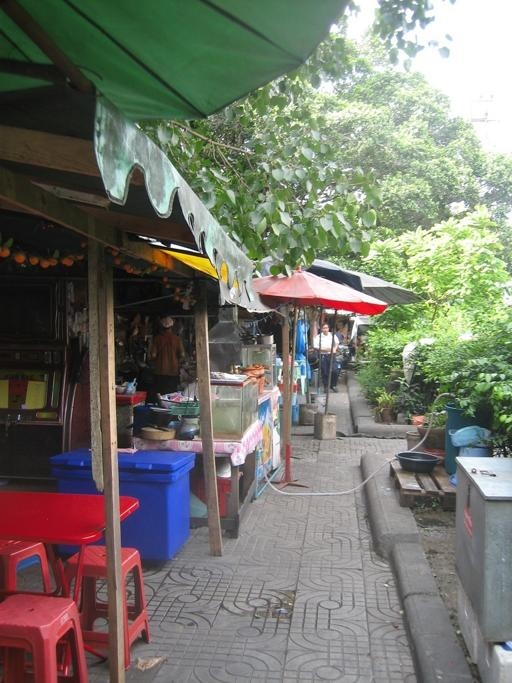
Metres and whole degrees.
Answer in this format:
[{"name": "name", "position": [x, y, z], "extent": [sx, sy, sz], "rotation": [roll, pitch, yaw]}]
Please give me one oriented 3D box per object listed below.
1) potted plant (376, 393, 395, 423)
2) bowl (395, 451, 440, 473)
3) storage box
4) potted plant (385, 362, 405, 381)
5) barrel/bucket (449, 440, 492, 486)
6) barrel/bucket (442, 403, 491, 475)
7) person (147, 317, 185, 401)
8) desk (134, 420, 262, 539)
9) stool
[{"name": "potted plant", "position": [2.674, 1.455, 11.383], "extent": [0.480, 0.627, 0.490], "rotation": [0, -8, -2]}, {"name": "bowl", "position": [1.922, 1.513, 6.515], "extent": [0.463, 0.186, 0.500], "rotation": [0, 0, 0]}, {"name": "storage box", "position": [-1.158, 1.404, 4.813], "extent": [1.110, 0.798, 0.928], "rotation": [-1, -3, 7]}, {"name": "potted plant", "position": [3.071, 0.707, 12.107], "extent": [0.361, 0.417, 0.380], "rotation": [1, 5, 17]}, {"name": "barrel/bucket", "position": [2.341, 1.298, 5.831], "extent": [0.452, 0.488, 0.463], "rotation": [1, 0, 0]}, {"name": "barrel/bucket", "position": [2.432, 1.047, 6.290], "extent": [0.356, 0.552, 0.375], "rotation": [13, -23, 6]}, {"name": "person", "position": [-1.440, 0.404, 8.600], "extent": [0.469, 1.531, 0.422], "rotation": [-1, 21, -12]}, {"name": "desk", "position": [-0.505, 1.198, 5.572], "extent": [1.504, 0.797, 0.958], "rotation": [0, 6, 7]}, {"name": "stool", "position": [-0.963, 1.653, 3.344], "extent": [0.654, 0.889, 0.679], "rotation": [-1, -11, 3]}]
